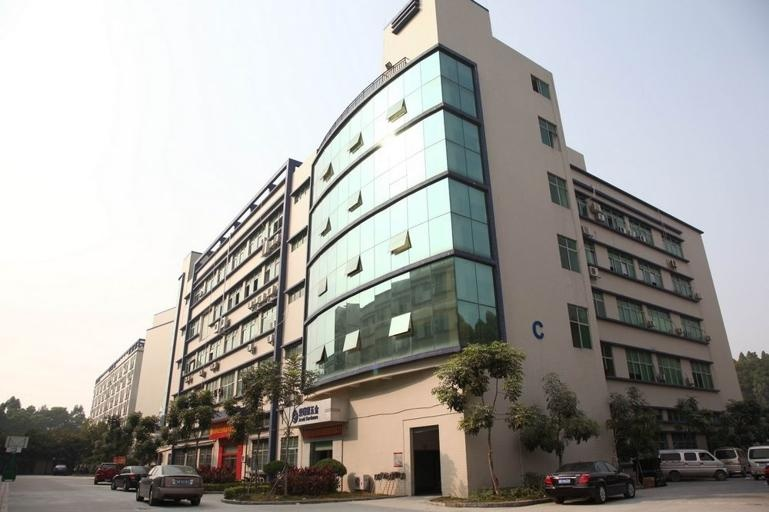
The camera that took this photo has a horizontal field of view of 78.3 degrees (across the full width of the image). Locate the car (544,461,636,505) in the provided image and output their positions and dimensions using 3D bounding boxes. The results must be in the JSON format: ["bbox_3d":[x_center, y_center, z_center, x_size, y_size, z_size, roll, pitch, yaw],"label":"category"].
[{"bbox_3d":[10.955,12.018,25.149,4.609,1.965,1.472,11,-29,-24],"label":"car"}]

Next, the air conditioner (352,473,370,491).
[{"bbox_3d":[-1.537,15.725,32.848,0.420,1.089,1.739,18,-33,-35],"label":"air conditioner"}]

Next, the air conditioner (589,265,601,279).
[{"bbox_3d":[18.247,1.431,41.521,0.702,1.037,1.113,-13,-29,23],"label":"air conditioner"}]
